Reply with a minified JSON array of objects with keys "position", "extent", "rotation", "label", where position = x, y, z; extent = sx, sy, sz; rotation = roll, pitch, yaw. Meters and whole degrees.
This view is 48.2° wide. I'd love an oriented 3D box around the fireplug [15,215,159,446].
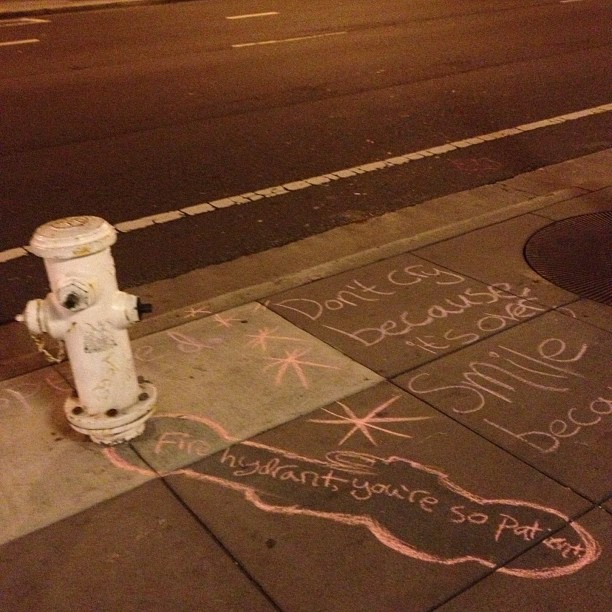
[{"position":[-1.164,0.167,3.729],"extent":[0.520,1.301,0.564],"rotation":[12,35,26],"label":"fireplug"}]
